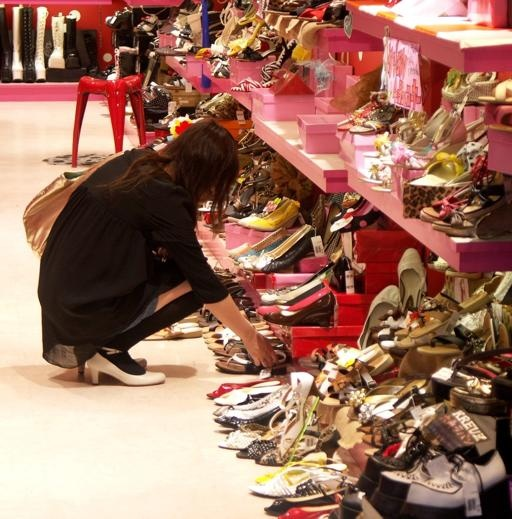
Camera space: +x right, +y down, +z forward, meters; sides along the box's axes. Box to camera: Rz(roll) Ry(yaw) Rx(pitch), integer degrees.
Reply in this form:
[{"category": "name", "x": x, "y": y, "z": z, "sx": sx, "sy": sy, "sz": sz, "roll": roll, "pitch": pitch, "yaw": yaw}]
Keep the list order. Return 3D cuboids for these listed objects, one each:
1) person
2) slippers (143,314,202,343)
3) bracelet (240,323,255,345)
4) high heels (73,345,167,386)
[{"category": "person", "x": -0.469, "y": 0.042, "z": 2.106, "sx": 0.946, "sy": 0.951, "sz": 0.825, "roll": 5, "pitch": 5, "yaw": -19}, {"category": "slippers", "x": -0.440, "y": 0.370, "z": 2.453, "sx": 0.227, "sy": 0.055, "sz": 0.137, "roll": -8, "pitch": 4, "yaw": -6}, {"category": "bracelet", "x": -0.032, "y": 0.301, "z": 1.853, "sx": 0.045, "sy": 0.040, "sz": 0.102, "roll": 1, "pitch": -28, "yaw": -3}, {"category": "high heels", "x": -0.604, "y": 0.457, "z": 2.000, "sx": 0.359, "sy": 0.127, "sz": 0.172, "roll": 0, "pitch": 7, "yaw": -8}]
